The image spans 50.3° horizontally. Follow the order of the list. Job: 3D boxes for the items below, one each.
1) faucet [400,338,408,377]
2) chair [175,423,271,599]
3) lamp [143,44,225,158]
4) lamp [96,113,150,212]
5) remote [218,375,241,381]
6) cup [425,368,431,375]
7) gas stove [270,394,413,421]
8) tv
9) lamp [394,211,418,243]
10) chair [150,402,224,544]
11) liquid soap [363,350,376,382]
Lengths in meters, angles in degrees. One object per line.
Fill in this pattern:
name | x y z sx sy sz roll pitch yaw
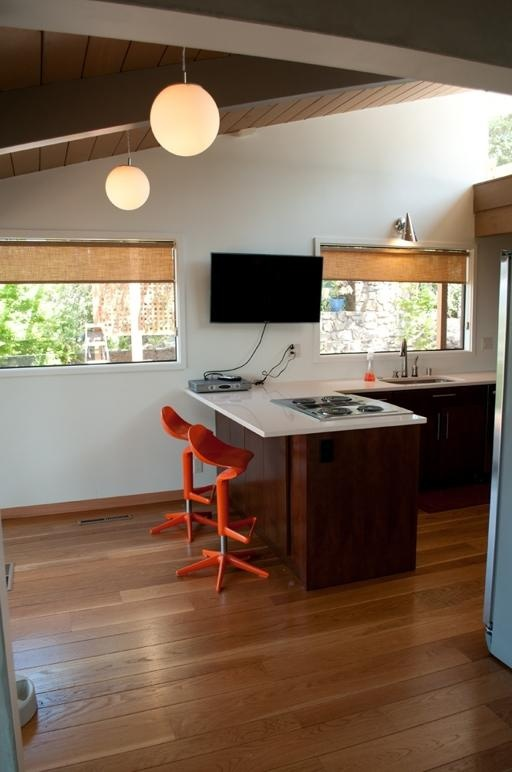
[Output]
faucet | 1.338 -0.249 4.920 0.067 0.341 0.241 0 5 16
chair | -0.182 0.656 3.077 0.474 0.797 0.443 5 9 43
lamp | -0.240 -1.005 1.860 0.218 0.496 0.220 4 -15 -32
lamp | -0.679 -1.089 2.920 0.226 0.262 0.174 -4 5 -32
remote | -0.209 -0.059 4.222 0.168 0.037 0.260 -2 5 -10
cup | 1.592 -0.127 5.080 0.060 0.088 0.046 -3 7 -11
gas stove | 0.495 0.123 3.152 0.600 0.037 0.733 -3 5 -19
tv | 0.090 -0.757 4.278 0.913 0.511 0.156 -3 5 -21
lamp | 1.367 -1.397 4.824 0.264 0.260 0.158 -4 6 -34
chair | -0.448 0.574 3.749 0.457 0.807 0.486 2 5 32
liquid soap | 0.974 -0.161 4.662 0.098 0.246 0.427 0 5 12
